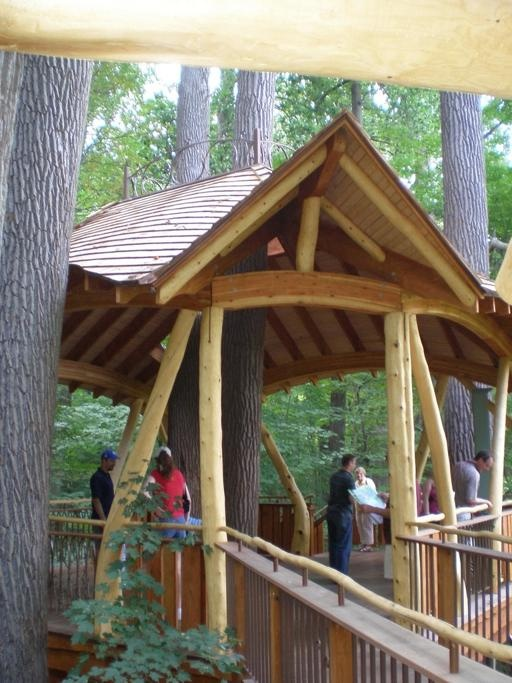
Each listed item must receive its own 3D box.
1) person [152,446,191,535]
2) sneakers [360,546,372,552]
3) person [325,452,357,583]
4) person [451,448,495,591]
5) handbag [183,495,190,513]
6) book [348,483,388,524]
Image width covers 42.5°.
[{"bbox_3d":[-0.952,1.903,7.538,0.495,1.293,0.421,-5,11,-16],"label":"person"},{"bbox_3d":[2.107,4.040,12.777,0.101,0.104,0.259,-14,-25,36],"label":"sneakers"},{"bbox_3d":[1.211,2.360,9.048,0.518,1.688,0.453,-5,11,-32],"label":"person"},{"bbox_3d":[2.847,2.246,8.535,0.530,1.512,3.153,-2,-7,17],"label":"person"},{"bbox_3d":[-0.801,1.900,7.602,0.058,0.149,0.117,0,-10,-16],"label":"handbag"},{"bbox_3d":[1.277,1.841,7.542,0.394,0.328,0.575,0,-6,7],"label":"book"}]
